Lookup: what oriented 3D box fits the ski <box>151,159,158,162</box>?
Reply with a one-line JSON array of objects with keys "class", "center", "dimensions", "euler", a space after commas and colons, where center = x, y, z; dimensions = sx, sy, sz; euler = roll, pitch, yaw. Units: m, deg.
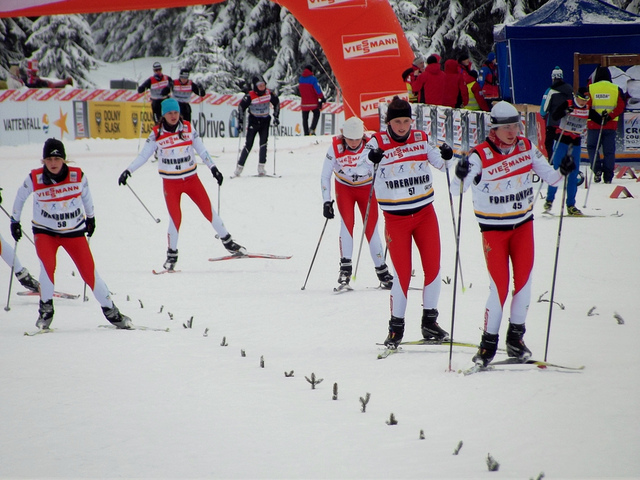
[{"class": "ski", "center": [-4.182, -2.055, 22.370], "dimensions": [0.142, 0.079, 0.395], "euler": [-5, 16, -12]}]

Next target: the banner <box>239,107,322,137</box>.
[{"class": "banner", "center": [-1.286, -3.939, 29.463], "dimensions": [2.739, 1.105, 0.062], "euler": [1, -10, 2]}]

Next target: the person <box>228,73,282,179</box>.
[{"class": "person", "center": [-1.439, -2.583, 19.748], "dimensions": [1.060, 2.394, 0.677], "euler": [-2, 30, -7]}]

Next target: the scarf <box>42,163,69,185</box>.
[{"class": "scarf", "center": [-3.219, -0.854, 10.747], "dimensions": [0.189, 0.158, 0.292], "euler": [-5, 30, -19]}]

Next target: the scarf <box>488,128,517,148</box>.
[{"class": "scarf", "center": [1.909, -1.115, 9.451], "dimensions": [0.169, 0.147, 0.248], "euler": [2, 17, 1]}]

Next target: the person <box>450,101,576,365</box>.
[{"class": "person", "center": [1.993, -0.062, 9.446], "dimensions": [1.170, 2.810, 0.559], "euler": [-3, 13, -5]}]

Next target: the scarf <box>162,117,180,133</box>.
[{"class": "scarf", "center": [-2.294, -1.767, 13.495], "dimensions": [0.150, 0.134, 0.212], "euler": [0, 20, -4]}]

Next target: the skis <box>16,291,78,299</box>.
[{"class": "skis", "center": [-3.738, 0.743, 12.099], "dimensions": [0.848, 0.117, 0.215], "euler": [1, 2, 0]}]

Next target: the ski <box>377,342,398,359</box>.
[{"class": "ski", "center": [0.762, 1.246, 9.976], "dimensions": [0.090, 0.112, 0.394], "euler": [9, 21, 21]}]

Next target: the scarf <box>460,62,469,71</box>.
[{"class": "scarf", "center": [3.669, -4.421, 22.423], "dimensions": [0.099, 0.228, 0.436], "euler": [6, 17, 29]}]

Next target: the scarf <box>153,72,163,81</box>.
[{"class": "scarf", "center": [-3.813, -3.878, 20.856], "dimensions": [0.150, 0.127, 0.165], "euler": [-1, 6, -2]}]

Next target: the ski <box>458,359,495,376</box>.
[{"class": "ski", "center": [1.673, 1.365, 9.528], "dimensions": [0.440, 0.196, 0.137], "euler": [-17, 0, -20]}]

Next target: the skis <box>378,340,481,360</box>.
[{"class": "skis", "center": [1.240, 1.245, 10.059], "dimensions": [1.048, 0.133, 0.158], "euler": [5, -23, 28]}]

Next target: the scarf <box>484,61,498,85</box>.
[{"class": "scarf", "center": [4.879, -4.812, 25.207], "dimensions": [0.406, 0.655, 0.298], "euler": [-1, -11, -24]}]

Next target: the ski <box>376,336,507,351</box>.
[{"class": "ski", "center": [1.399, 1.179, 10.095], "dimensions": [1.152, 0.151, 0.136], "euler": [6, 9, 13]}]

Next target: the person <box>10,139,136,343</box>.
[{"class": "person", "center": [-3.138, -0.108, 10.957], "dimensions": [1.168, 2.347, 0.868], "euler": [-6, 14, -18]}]

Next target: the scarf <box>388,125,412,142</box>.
[{"class": "scarf", "center": [0.909, -1.236, 10.115], "dimensions": [0.260, 0.196, 0.147], "euler": [0, 14, 9]}]
